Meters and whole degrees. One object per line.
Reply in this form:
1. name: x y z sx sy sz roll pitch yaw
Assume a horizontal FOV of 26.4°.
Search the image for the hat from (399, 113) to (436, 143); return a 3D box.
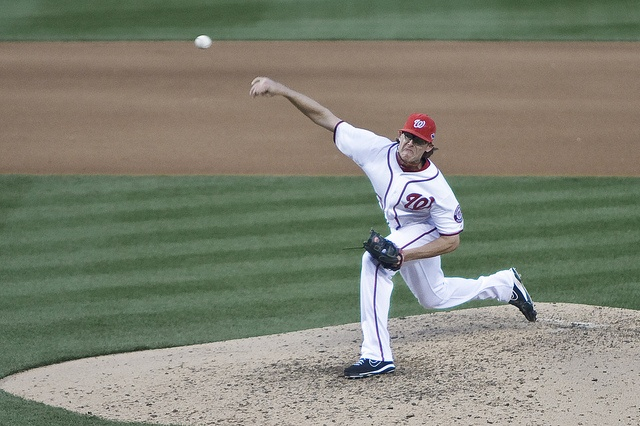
1. hat: 1.380 -1.195 18.598 0.489 0.316 0.616 23 10 21
